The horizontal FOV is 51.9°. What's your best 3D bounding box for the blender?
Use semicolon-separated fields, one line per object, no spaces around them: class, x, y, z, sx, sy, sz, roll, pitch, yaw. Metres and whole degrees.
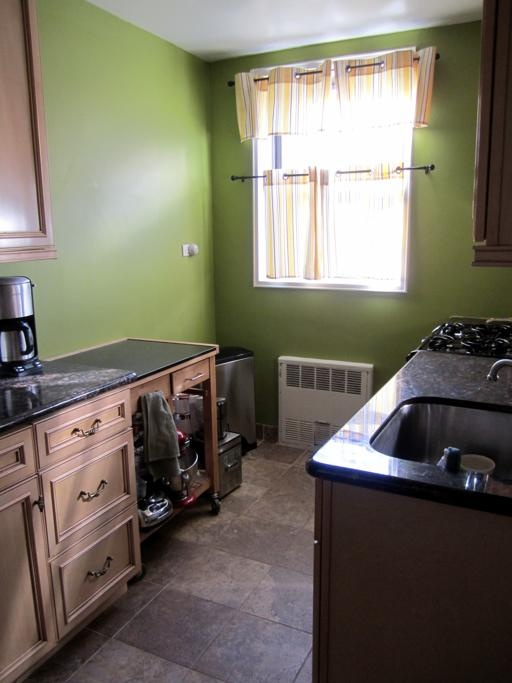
blender;-0.328;0.539;2.615;0.178;0.502;0.257;6;-30;-12

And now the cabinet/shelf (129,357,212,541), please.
cabinet/shelf;-0.491;0.472;2.503;0.284;0.742;0.756;6;-21;-36

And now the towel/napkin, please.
towel/napkin;-0.395;0.377;2.118;0.084;0.369;0.165;6;12;39
